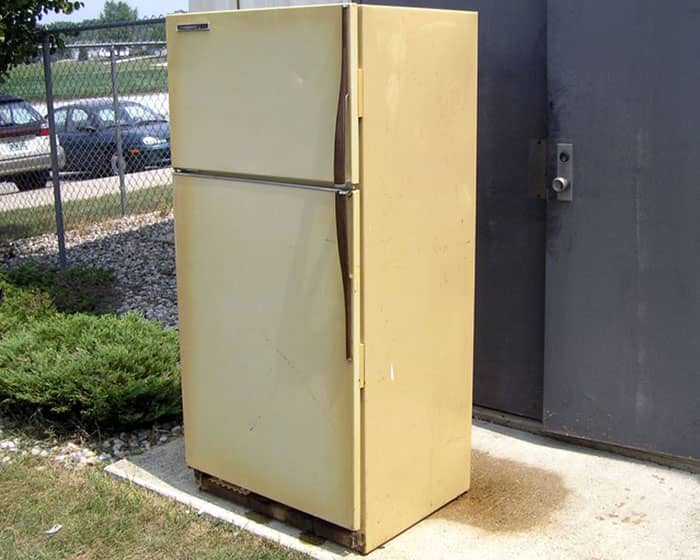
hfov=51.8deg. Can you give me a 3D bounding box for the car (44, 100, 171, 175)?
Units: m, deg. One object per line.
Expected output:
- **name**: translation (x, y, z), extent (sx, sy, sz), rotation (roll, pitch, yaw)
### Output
- **car**: translation (-3.837, -2.378, 11.737), extent (2.489, 1.216, 1.577), rotation (11, 21, 40)

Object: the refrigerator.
- **refrigerator**: translation (-0.168, -0.030, 3.401), extent (1.442, 2.379, 0.747), rotation (3, 13, 15)
